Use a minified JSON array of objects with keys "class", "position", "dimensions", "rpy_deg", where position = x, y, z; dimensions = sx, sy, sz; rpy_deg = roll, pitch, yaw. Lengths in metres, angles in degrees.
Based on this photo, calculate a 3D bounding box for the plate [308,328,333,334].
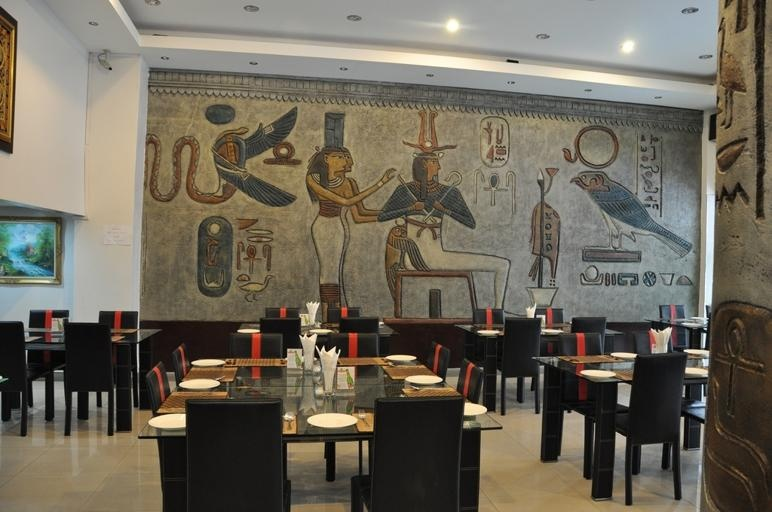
[{"class":"plate","position":[-0.746,0.853,8.035],"dimensions":[0.187,0.034,0.143],"rpy_deg":[1,2,11]}]

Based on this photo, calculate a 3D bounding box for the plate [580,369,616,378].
[{"class":"plate","position":[2.005,1.122,6.789],"dimensions":[0.321,0.071,0.257],"rpy_deg":[-2,-6,17]}]

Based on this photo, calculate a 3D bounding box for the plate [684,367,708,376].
[{"class":"plate","position":[2.992,1.125,6.918],"dimensions":[0.182,0.076,0.357],"rpy_deg":[-4,-7,27]}]
